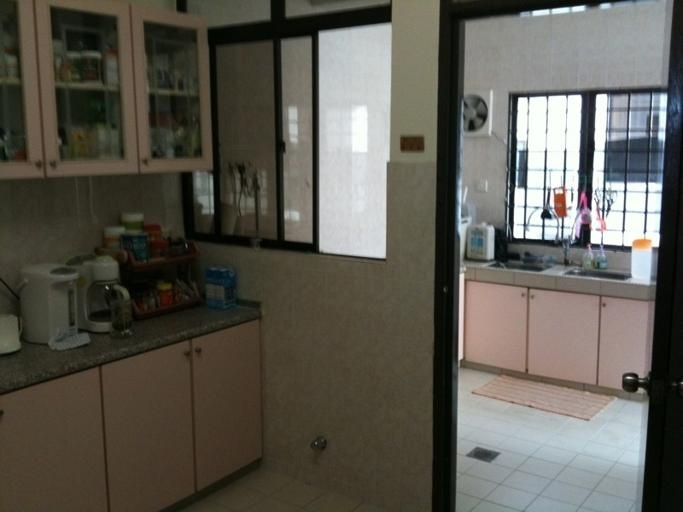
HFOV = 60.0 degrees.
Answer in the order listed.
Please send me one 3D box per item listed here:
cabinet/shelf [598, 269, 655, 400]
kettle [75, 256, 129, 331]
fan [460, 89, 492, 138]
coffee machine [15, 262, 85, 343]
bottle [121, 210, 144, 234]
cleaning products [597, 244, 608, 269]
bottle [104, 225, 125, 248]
[{"bbox_3d":[2.159,0.630,4.552,0.148,0.904,0.363,-9,15,-40],"label":"cabinet/shelf"},{"bbox_3d":[-1.316,0.185,3.207,0.368,0.461,0.250,-1,6,-7],"label":"kettle"},{"bbox_3d":[1.247,-1.317,5.417,0.256,0.406,0.100,3,12,12],"label":"fan"},{"bbox_3d":[-1.516,0.240,3.067,0.338,0.377,0.211,4,12,13],"label":"coffee machine"},{"bbox_3d":[-1.217,-0.198,3.480,0.108,0.132,0.113,1,1,-9],"label":"bottle"},{"bbox_3d":[2.154,0.008,4.912,0.086,0.185,0.104,9,14,34],"label":"cleaning products"},{"bbox_3d":[-1.303,-0.117,3.471,0.106,0.130,0.113,0,0,14],"label":"bottle"}]
